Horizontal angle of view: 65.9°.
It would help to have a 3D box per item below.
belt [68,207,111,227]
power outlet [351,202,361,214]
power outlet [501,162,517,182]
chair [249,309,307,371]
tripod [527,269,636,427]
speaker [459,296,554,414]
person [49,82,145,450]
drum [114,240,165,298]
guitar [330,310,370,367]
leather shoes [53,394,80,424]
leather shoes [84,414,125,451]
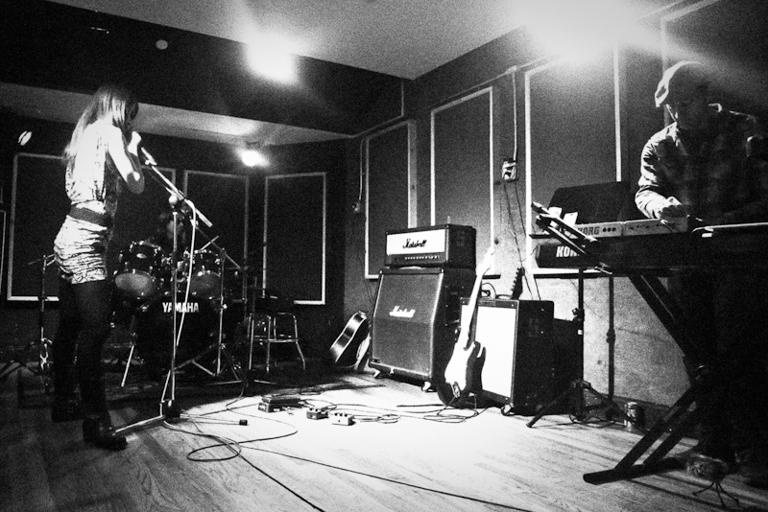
[{"bbox_3d":[-1.925,-0.257,3.898,0.168,0.055,0.166,9,-11,46],"label":"belt"},{"bbox_3d":[-0.359,-0.628,7.589,0.055,0.142,0.163,6,-7,-31],"label":"power outlet"},{"bbox_3d":[1.154,-0.779,5.478,0.142,0.175,0.178,-3,13,0],"label":"power outlet"},{"bbox_3d":[-1.401,1.033,7.630,0.622,0.678,0.750,1,-2,-30],"label":"chair"},{"bbox_3d":[1.480,0.664,4.496,0.658,1.151,0.847,2,3,22],"label":"tripod"},{"bbox_3d":[0.978,0.801,4.695,0.356,0.854,0.884,3,-5,-21],"label":"speaker"},{"bbox_3d":[-1.925,0.029,3.986,0.464,2.338,0.827,-3,4,-45],"label":"person"},{"bbox_3d":[-2.202,0.123,5.375,0.392,0.357,0.378,15,-43,-12],"label":"drum"},{"bbox_3d":[-0.393,0.958,6.864,0.158,0.630,0.434,30,6,20],"label":"guitar"},{"bbox_3d":[-2.355,1.107,4.316,0.152,0.188,0.208,-5,-12,39],"label":"leather shoes"},{"bbox_3d":[-1.797,1.108,3.795,0.325,0.202,0.118,1,3,12],"label":"leather shoes"}]
